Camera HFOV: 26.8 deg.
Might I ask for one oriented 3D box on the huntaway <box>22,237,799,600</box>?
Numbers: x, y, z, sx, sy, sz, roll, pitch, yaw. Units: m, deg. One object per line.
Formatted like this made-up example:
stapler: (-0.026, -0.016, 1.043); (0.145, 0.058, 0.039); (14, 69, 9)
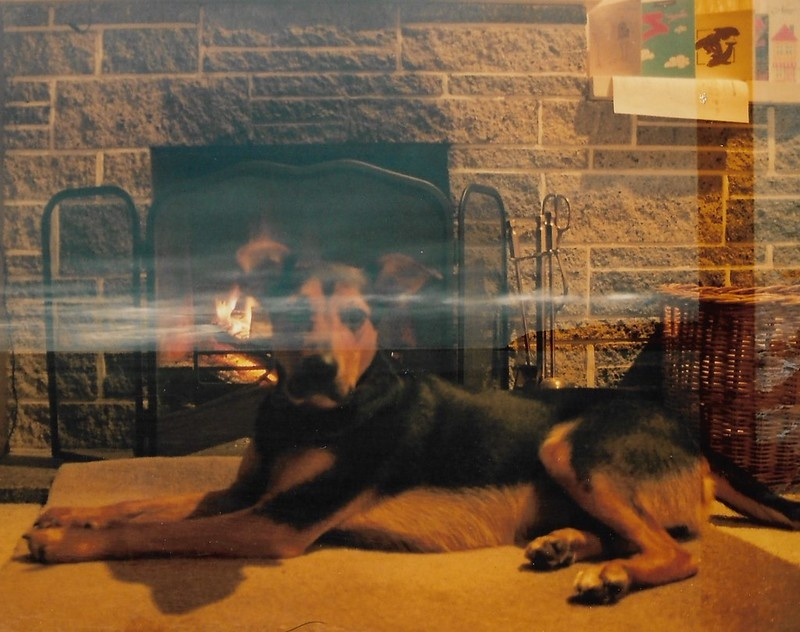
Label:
huntaway: (0.042, 0.289, 4.903); (2.126, 0.741, 0.845); (1, -8, -3)
